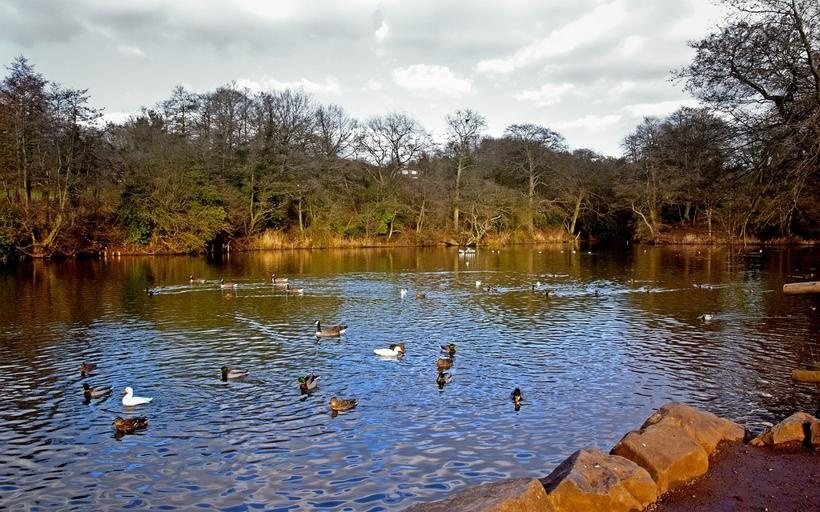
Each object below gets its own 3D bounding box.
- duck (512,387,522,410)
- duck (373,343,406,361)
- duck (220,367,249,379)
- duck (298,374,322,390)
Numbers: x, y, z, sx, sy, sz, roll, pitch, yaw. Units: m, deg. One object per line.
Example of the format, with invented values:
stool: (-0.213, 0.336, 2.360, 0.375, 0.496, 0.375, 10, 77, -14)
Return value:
duck: (4.562, 6.020, 27.269, 0.328, 0.385, 0.924, 5, 27, 6)
duck: (-0.987, 4.748, 31.675, 1.247, 0.753, 0.731, 7, 7, -4)
duck: (-8.186, 5.394, 29.677, 1.085, 0.675, 0.580, 3, -11, 1)
duck: (-4.501, 5.632, 28.691, 0.964, 0.683, 0.635, -1, -1, -33)
